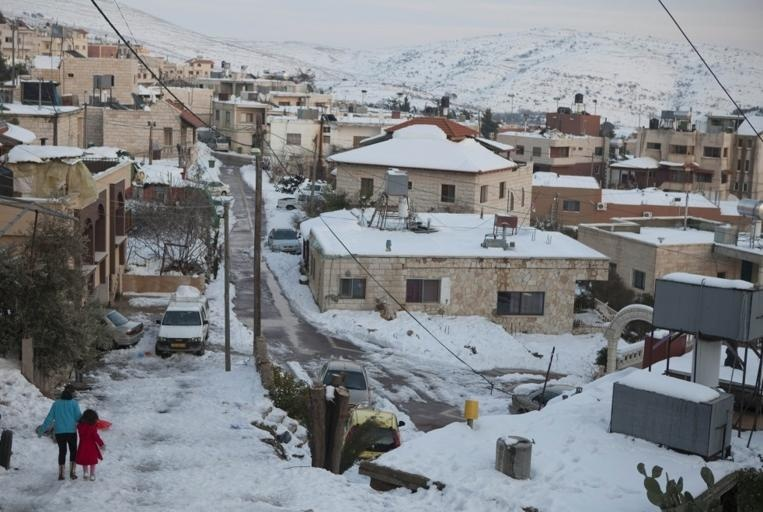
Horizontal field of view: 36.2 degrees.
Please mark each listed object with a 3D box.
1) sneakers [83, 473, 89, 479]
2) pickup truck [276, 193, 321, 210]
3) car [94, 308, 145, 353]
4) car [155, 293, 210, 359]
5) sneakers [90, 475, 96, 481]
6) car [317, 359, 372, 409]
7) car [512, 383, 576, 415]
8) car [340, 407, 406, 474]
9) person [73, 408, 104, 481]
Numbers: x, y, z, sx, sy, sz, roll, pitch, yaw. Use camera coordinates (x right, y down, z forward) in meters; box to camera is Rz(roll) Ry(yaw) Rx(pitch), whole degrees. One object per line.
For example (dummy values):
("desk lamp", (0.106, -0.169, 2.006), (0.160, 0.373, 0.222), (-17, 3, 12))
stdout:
("sneakers", (-11.626, 8.665, 45.821), (0.185, 0.190, 0.191), (-2, 7, -28))
("pickup truck", (-6.629, -3.972, 90.983), (2.576, 1.100, 1.497), (-2, 10, -3))
("car", (-13.140, 3.843, 59.429), (2.700, 0.942, 1.183), (14, 19, 28))
("car", (-10.306, 3.760, 60.531), (2.606, 2.492, 5.404), (0, 4, -5))
("sneakers", (-11.335, 8.759, 45.858), (0.158, 0.160, 0.279), (5, 2, -12))
("car", (-1.856, 6.497, 56.159), (3.009, 2.567, 5.402), (4, 5, -3))
("car", (7.546, 6.867, 56.473), (2.807, 0.981, 1.680), (-11, 4, 12))
("car", (-0.211, 8.154, 52.769), (2.851, 2.722, 5.184), (1, 11, -1))
("person", (-11.519, 7.418, 45.782), (0.995, 2.799, 0.635), (-3, 10, -17))
